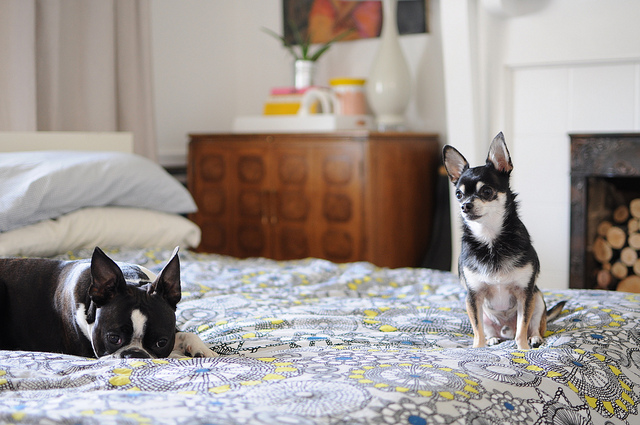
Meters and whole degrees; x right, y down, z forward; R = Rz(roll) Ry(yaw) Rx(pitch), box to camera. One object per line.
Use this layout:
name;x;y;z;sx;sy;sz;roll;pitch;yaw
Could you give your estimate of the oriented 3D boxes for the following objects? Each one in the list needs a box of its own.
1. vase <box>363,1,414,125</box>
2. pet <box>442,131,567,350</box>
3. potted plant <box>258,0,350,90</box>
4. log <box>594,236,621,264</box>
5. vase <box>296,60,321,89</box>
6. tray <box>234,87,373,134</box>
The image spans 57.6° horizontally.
vase;0.555;-1.207;4.638;0.403;1.018;0.413;2;5;9
pet;0.792;0.168;2.466;0.345;0.789;0.930;-1;-6;32
potted plant;-0.114;-1.259;5.048;0.788;0.648;0.818;-3;-12;28
log;1.914;0.243;3.954;0.046;0.182;0.218;-11;-13;39
vase;-0.095;-1.095;4.597;0.160;0.241;0.142;0;5;-14
tray;-0.139;-0.806;4.551;1.062;0.334;0.381;2;4;14
